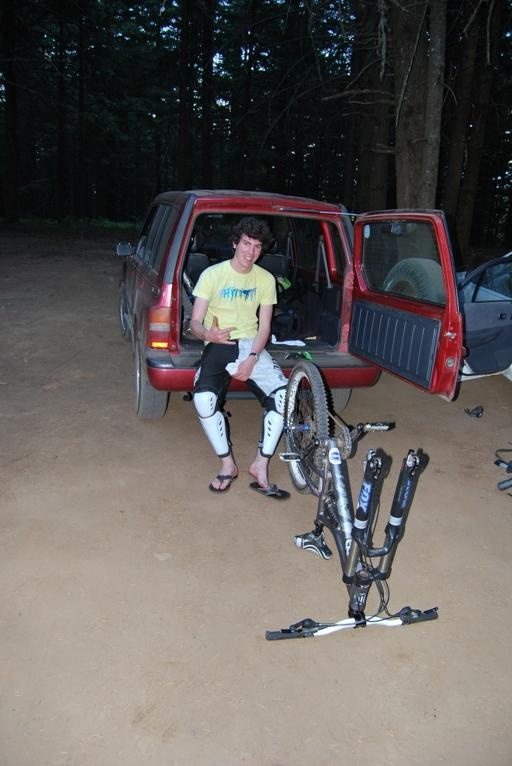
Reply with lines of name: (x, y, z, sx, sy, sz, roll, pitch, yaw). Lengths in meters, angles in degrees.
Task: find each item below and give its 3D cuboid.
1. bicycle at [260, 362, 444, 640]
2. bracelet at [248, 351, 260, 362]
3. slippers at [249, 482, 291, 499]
bicycle: (0.379, 0.520, 2.951, 0.720, 0.792, 1.422, -2, 26, -7)
bracelet: (-0.015, -0.176, 3.740, 0.057, 0.065, 0.136, 7, 18, 9)
slippers: (0.099, 0.703, 3.774, 0.241, 0.065, 0.101, 13, 29, 34)
